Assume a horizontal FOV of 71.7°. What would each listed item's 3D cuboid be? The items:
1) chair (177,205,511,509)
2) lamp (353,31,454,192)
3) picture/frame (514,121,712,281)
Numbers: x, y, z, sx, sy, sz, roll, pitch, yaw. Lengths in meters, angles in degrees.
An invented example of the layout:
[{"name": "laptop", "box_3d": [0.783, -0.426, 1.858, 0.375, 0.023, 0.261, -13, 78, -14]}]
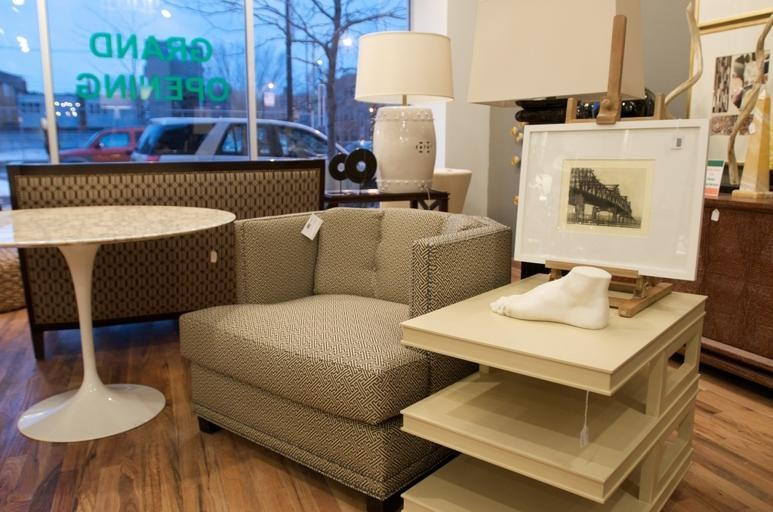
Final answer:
[{"name": "chair", "box_3d": [-0.098, 0.426, 2.633, 1.433, 1.157, 1.324, 7, 12, 42]}, {"name": "lamp", "box_3d": [0.118, -0.930, 3.554, 0.623, 1.002, 0.405, -1, 15, 4]}, {"name": "picture/frame", "box_3d": [0.815, -0.207, 1.943, 0.601, 0.496, 0.068, 5, 7, 25]}]
